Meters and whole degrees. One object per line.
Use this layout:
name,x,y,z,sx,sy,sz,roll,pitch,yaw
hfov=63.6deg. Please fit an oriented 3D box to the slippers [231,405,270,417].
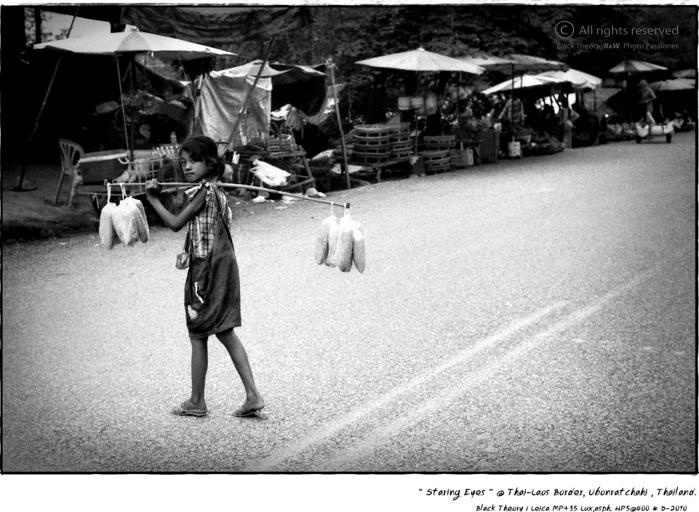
slippers,-0.763,1.190,4.267,0.203,0.084,0.117,3,-2,7

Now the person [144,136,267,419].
person,-1.058,0.327,4.216,0.698,1.832,0.369,-4,8,-5

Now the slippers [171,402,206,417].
slippers,-1.220,1.166,4.253,0.206,0.084,0.117,5,0,11
